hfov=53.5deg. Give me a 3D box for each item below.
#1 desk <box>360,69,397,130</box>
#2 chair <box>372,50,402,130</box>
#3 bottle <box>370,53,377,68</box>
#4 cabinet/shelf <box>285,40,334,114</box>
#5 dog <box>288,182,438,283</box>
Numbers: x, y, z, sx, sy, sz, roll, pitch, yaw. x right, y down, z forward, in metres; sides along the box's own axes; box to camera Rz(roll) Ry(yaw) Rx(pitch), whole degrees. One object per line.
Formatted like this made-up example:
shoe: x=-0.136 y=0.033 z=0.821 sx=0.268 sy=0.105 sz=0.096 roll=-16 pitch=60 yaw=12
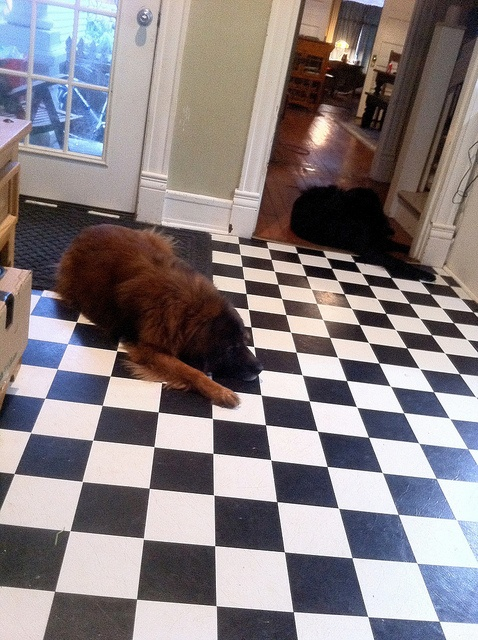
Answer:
desk: x=3.111 y=-4.600 z=10.119 sx=0.648 sy=0.922 sz=0.976 roll=27 pitch=35 yaw=24
chair: x=2.920 y=-4.775 z=9.730 sx=0.400 sy=0.857 sz=0.438 roll=20 pitch=16 yaw=35
bottle: x=3.141 y=-6.048 z=11.088 sx=0.045 sy=0.203 sz=0.195 roll=6 pitch=0 yaw=-25
cabinet/shelf: x=1.659 y=-5.895 z=11.396 sx=0.865 sy=1.492 sz=0.889 roll=15 pitch=27 yaw=2
dog: x=0.994 y=-0.743 z=3.943 sx=1.125 sy=0.480 sz=0.666 roll=24 pitch=15 yaw=14
